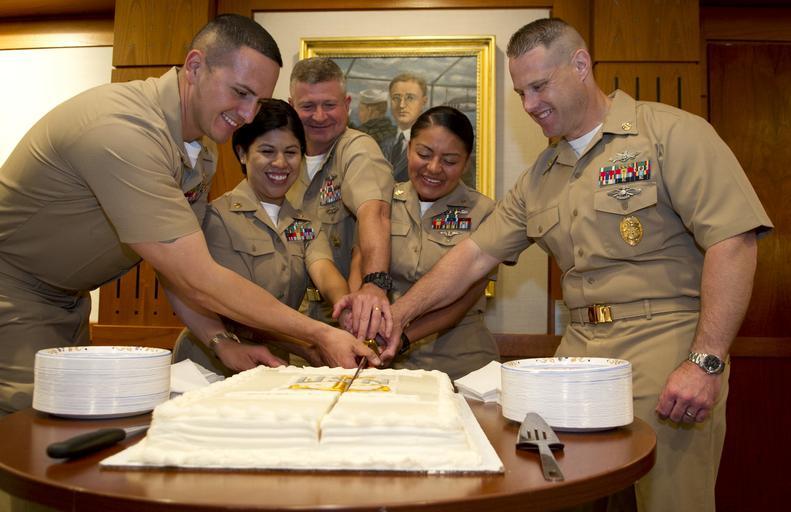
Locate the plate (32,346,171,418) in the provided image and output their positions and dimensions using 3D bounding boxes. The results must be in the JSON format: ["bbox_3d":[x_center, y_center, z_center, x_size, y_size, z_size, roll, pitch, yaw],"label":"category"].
[{"bbox_3d":[-0.842,0.362,1.651,0.236,0.130,0.269,2,-2,-1],"label":"plate"}]

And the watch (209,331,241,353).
[{"bbox_3d":[-0.706,0.333,2.282,0.089,0.100,0.026,-31,36,-23],"label":"watch"}]

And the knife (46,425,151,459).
[{"bbox_3d":[-0.768,0.462,1.448,0.053,0.031,0.279,5,5,22],"label":"knife"}]

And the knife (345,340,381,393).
[{"bbox_3d":[-0.116,0.369,1.931,0.030,0.028,0.195,22,34,8],"label":"knife"}]

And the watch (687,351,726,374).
[{"bbox_3d":[1.073,0.361,1.906,0.102,0.071,0.104,20,-5,27],"label":"watch"}]
